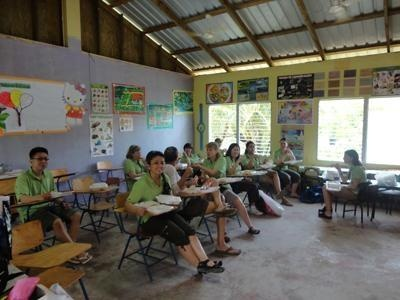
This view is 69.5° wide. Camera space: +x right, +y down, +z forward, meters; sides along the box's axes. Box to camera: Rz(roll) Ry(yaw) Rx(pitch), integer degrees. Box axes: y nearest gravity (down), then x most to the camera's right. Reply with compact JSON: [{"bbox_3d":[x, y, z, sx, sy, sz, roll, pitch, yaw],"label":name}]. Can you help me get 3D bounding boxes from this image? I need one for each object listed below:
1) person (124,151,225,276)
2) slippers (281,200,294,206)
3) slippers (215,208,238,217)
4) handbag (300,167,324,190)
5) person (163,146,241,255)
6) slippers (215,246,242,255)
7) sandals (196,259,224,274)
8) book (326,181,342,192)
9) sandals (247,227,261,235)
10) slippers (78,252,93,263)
[{"bbox_3d":[-0.392,0.855,3.703,1.005,1.609,0.774,8,13,44],"label":"person"},{"bbox_3d":[1.995,1.215,6.598,0.273,0.115,0.091,-3,-2,36],"label":"slippers"},{"bbox_3d":[0.391,0.960,4.388,0.364,0.156,0.125,-4,0,7],"label":"slippers"},{"bbox_3d":[2.793,0.655,7.390,0.515,0.742,0.519,4,8,35],"label":"handbag"},{"bbox_3d":[0.406,0.685,5.213,1.345,1.572,0.505,3,9,32],"label":"person"},{"bbox_3d":[0.419,1.518,4.387,0.335,0.098,0.145,-1,-1,2],"label":"slippers"},{"bbox_3d":[0.128,1.469,3.646,0.297,0.114,0.169,2,4,39],"label":"sandals"},{"bbox_3d":[2.644,0.720,5.722,0.301,0.157,0.520,4,10,27],"label":"book"},{"bbox_3d":[0.934,1.397,4.992,0.104,0.067,0.175,-2,0,-37],"label":"sandals"},{"bbox_3d":[-1.651,1.551,4.199,0.106,0.135,0.319,8,-1,-4],"label":"slippers"}]
